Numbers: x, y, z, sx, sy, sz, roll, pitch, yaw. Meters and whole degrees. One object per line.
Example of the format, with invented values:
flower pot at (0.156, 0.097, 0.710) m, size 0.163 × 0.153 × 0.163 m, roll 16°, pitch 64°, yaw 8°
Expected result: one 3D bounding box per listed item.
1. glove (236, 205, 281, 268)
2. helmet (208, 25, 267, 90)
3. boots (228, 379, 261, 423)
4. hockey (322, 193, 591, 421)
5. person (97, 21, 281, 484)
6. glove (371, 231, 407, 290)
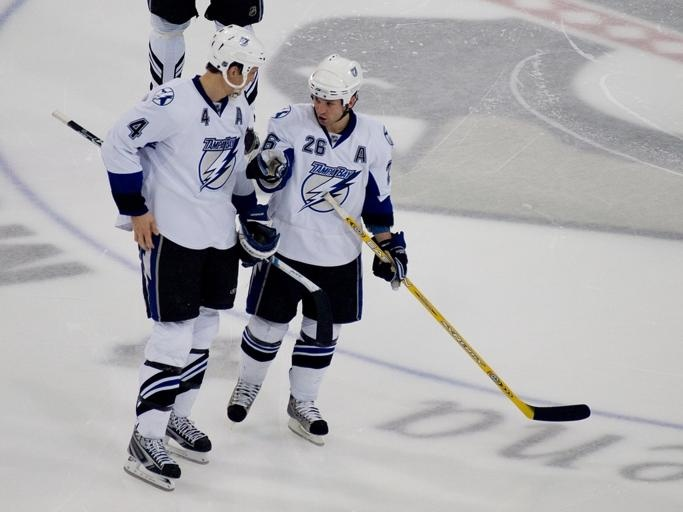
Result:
glove at (-0.441, -0.106, 4.206) m, size 0.245 × 0.178 × 0.319 m, roll 29°, pitch 30°, yaw -14°
helmet at (-0.518, -0.934, 3.916) m, size 0.339 × 0.330 × 0.269 m, roll -3°, pitch 37°, yaw -18°
boots at (-0.536, 0.811, 4.645) m, size 0.110 × 0.110 × 0.308 m, roll 28°, pitch 35°, yaw -10°
hockey at (0.687, 0.328, 5.216) m, size 0.312 × 0.119 × 2.392 m, roll -31°, pitch 42°, yaw -12°
person at (-0.726, 0.013, 4.036) m, size 0.890 × 2.107 × 1.135 m, roll 1°, pitch 35°, yaw -17°
glove at (0.284, 0.033, 4.519) m, size 0.126 × 0.277 × 0.239 m, roll 2°, pitch -12°, yaw -38°
